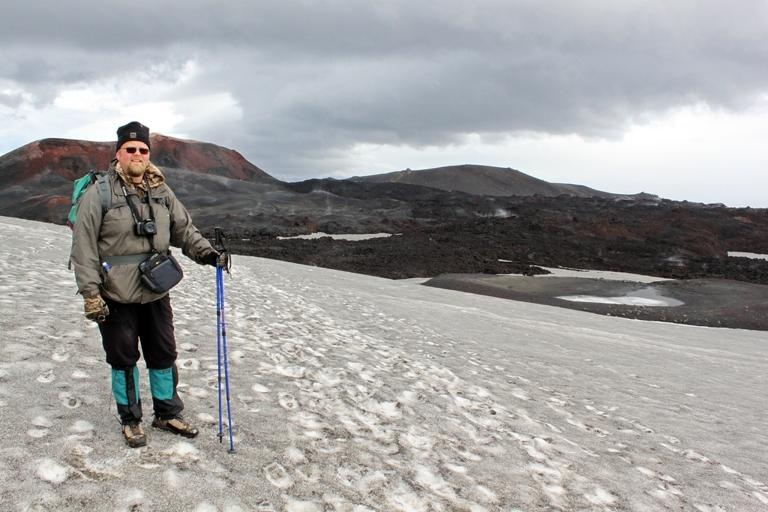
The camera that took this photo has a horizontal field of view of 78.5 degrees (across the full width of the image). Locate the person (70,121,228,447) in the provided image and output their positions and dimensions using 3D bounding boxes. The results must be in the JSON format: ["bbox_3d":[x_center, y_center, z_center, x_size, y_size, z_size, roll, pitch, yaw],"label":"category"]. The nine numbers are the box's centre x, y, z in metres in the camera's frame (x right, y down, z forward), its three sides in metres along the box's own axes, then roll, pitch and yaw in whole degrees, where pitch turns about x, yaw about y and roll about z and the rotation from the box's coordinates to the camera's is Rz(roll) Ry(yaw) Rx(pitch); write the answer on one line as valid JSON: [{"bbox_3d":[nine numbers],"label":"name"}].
[{"bbox_3d":[-2.286,0.181,4.535,1.167,3.108,1.362,2,15,-41],"label":"person"}]

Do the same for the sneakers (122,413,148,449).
[{"bbox_3d":[-2.278,1.658,4.380,0.196,0.237,0.255,3,12,-34],"label":"sneakers"}]

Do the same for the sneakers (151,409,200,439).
[{"bbox_3d":[-1.970,1.659,4.613,0.553,0.193,0.175,14,8,-6],"label":"sneakers"}]

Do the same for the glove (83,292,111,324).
[{"bbox_3d":[-2.587,0.450,4.253,0.216,0.253,0.101,-18,-16,-48],"label":"glove"}]

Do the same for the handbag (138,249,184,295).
[{"bbox_3d":[-2.109,0.120,4.506,0.364,0.409,0.319,5,12,-26],"label":"handbag"}]
